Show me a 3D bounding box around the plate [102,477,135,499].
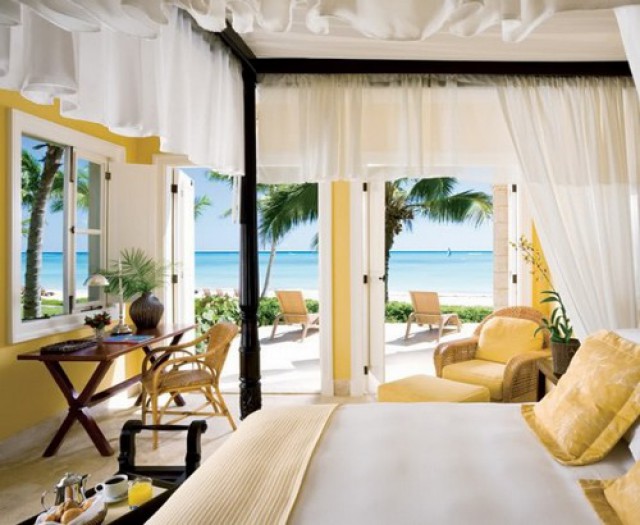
[{"bbox_3d":[-0.860,0.956,2.214,0.095,0.047,0.074,-3,3,30],"label":"plate"}]

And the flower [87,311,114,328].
[{"bbox_3d":[-1.717,0.443,4.068,0.166,0.122,0.168,0,-4,-20],"label":"flower"}]

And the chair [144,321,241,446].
[{"bbox_3d":[-1.029,0.886,4.074,0.725,0.809,0.584,0,-1,-30],"label":"chair"}]

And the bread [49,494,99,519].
[{"bbox_3d":[-0.967,0.942,2.027,0.074,0.039,0.105,-15,-8,15],"label":"bread"}]

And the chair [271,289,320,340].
[{"bbox_3d":[-0.263,0.781,8.068,0.591,0.711,1.060,-1,-2,18],"label":"chair"}]

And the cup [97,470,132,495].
[{"bbox_3d":[-0.880,0.941,2.219,0.110,0.053,0.080,-3,5,11],"label":"cup"}]

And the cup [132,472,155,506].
[{"bbox_3d":[-0.739,0.970,2.219,0.092,0.129,0.122,0,-8,-3],"label":"cup"}]

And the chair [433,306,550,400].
[{"bbox_3d":[1.437,0.708,4.148,0.694,0.923,0.760,1,-1,-37],"label":"chair"}]

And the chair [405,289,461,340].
[{"bbox_3d":[1.664,0.755,8.032,0.597,0.786,1.067,1,0,34],"label":"chair"}]

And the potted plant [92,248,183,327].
[{"bbox_3d":[-1.574,0.230,4.663,0.662,0.733,0.608,-3,-19,-33],"label":"potted plant"}]

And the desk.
[{"bbox_3d":[-1.651,1.049,4.465,0.553,0.737,1.931,-2,-3,3],"label":"desk"}]

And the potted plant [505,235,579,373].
[{"bbox_3d":[1.495,0.290,3.390,0.245,0.809,0.259,5,-2,-32],"label":"potted plant"}]
